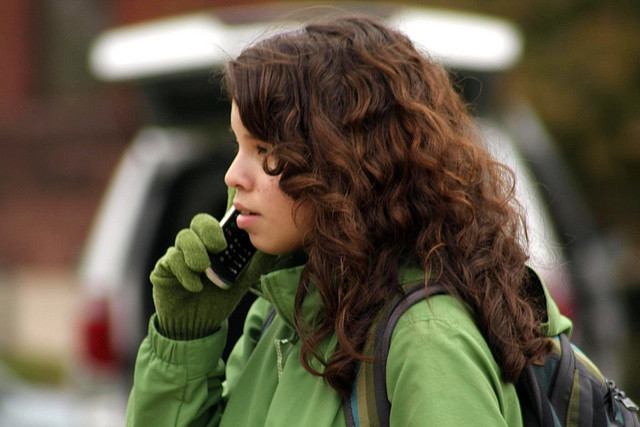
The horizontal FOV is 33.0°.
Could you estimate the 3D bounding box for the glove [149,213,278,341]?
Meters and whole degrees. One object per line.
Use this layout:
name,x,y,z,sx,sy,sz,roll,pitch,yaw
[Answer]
glove,-0.519,0.345,4.678,0.437,0.611,0.246,-2,20,-27

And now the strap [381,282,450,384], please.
strap,0.385,0.471,4.374,0.268,0.390,0.040,0,-12,6

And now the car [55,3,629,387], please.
car,-0.081,-0.301,6.333,1.690,1.793,2.922,-2,17,5
